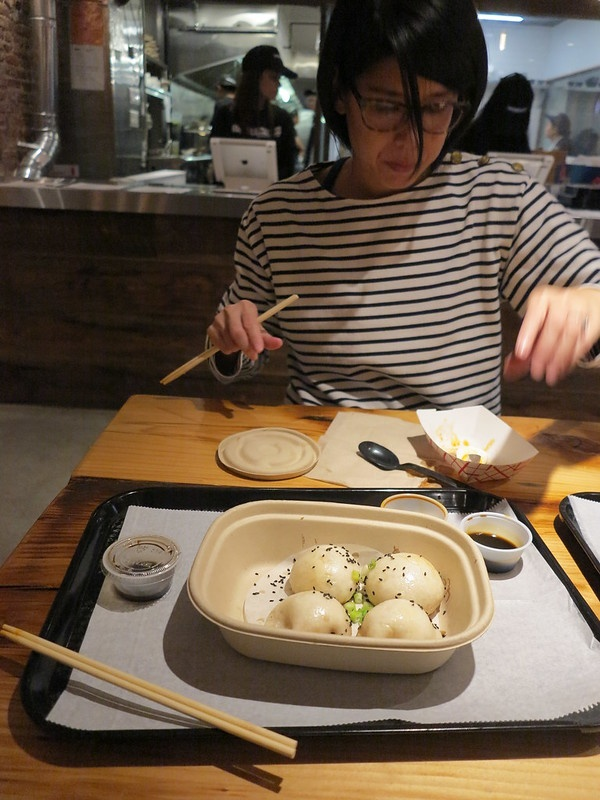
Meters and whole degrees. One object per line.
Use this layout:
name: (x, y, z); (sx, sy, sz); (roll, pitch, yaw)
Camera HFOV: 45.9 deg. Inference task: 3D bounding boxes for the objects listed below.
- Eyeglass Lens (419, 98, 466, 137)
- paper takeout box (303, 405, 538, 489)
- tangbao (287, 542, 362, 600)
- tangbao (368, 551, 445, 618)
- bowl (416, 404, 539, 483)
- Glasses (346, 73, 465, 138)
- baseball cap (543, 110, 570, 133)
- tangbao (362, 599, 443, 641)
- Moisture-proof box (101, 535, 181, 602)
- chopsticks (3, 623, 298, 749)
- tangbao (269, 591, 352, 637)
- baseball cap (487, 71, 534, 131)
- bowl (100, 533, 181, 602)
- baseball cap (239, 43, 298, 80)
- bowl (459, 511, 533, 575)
Eyeglass Lens: (0.280, -0.555, 1.416); (0.097, 0.086, 0.033); (-8, -3, -9)
paper takeout box: (0.237, 0.092, 1.401); (0.298, 0.054, 0.197); (-6, 26, 0)
tangbao: (0.025, 0.228, 0.948); (0.074, 0.046, 0.084); (3, 26, 20)
tangbao: (0.143, 0.236, 0.931); (0.089, 0.045, 0.083); (3, 38, 1)
bowl: (0.348, 0.089, 1.370); (0.154, 0.067, 0.177); (7, 23, -18)
Glasses: (0.233, -0.577, 1.411); (0.258, 0.095, 0.222); (-1, 21, -11)
baseball cap: (2.298, -2.450, 6.299); (0.152, 0.184, 0.199); (-7, 10, -32)
tangbao: (0.121, 0.265, 0.857); (0.060, 0.033, 0.062); (2, -16, 5)
Moisture-proof box: (-0.218, 0.230, 0.984); (0.107, 0.043, 0.099); (3, 25, 3)
chopsticks: (-0.168, 0.330, 0.804); (0.411, 0.020, 0.033); (13, -19, 19)
tangbao: (0.019, 0.253, 0.864); (0.061, 0.037, 0.069); (8, -8, -31)
baseball cap: (1.197, -1.732, 4.207); (0.310, 0.319, 0.311); (-4, 51, 5)
bowl: (-0.218, 0.232, 0.985); (0.108, 0.043, 0.101); (4, 23, -2)
baseball cap: (-0.236, -2.258, 4.794); (0.402, 0.187, 0.233); (-6, 41, -10)
bowl: (0.302, 0.222, 1.101); (0.094, 0.039, 0.088); (6, 32, -4)
